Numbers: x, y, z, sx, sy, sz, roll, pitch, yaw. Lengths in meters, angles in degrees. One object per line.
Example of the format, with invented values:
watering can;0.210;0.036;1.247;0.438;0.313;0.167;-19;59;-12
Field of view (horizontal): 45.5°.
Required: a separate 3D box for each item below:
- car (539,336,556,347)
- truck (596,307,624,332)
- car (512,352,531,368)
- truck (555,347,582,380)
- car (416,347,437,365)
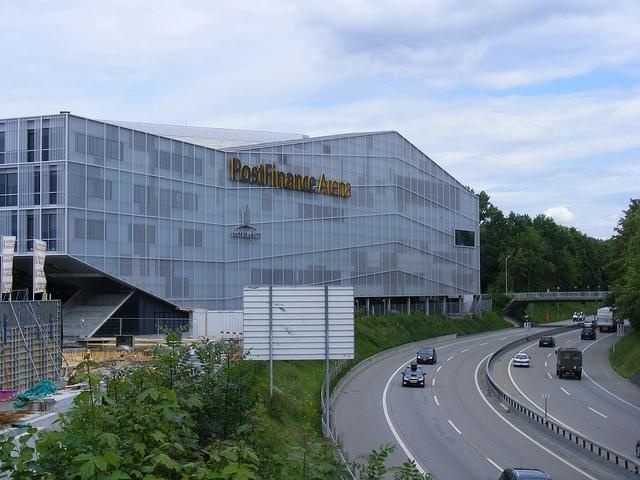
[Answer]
car;25.316;11.480;84.866;0.999;0.851;2.191;1;2;22
truck;38.824;10.973;103.444;2.551;2.718;2.369;2;1;25
car;17.890;10.902;67.801;1.334;0.815;1.669;2;0;8
truck;21.104;10.657;63.572;1.815;2.401;3.758;1;-11;25
car;9.553;10.511;68.022;1.617;0.845;2.192;2;0;17
